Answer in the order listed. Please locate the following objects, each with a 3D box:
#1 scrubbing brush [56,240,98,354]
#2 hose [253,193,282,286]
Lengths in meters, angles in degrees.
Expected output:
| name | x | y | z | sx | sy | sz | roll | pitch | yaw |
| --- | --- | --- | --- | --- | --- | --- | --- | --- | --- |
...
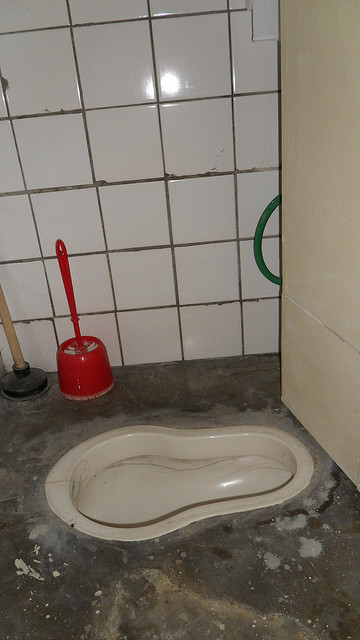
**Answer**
| name | x | y | z | sx | sy | sz | roll | pitch | yaw |
| --- | --- | --- | --- | --- | --- | --- | --- | --- | --- |
| scrubbing brush | -0.342 | -0.085 | 1.626 | 0.098 | 0.368 | 0.102 | -8 | 14 | 3 |
| hose | 0.280 | -0.252 | 1.658 | 0.085 | 0.285 | 0.136 | -1 | 22 | 11 |
